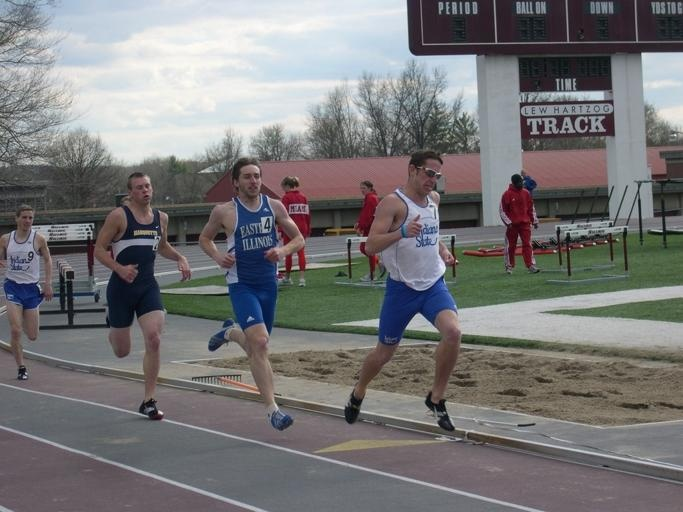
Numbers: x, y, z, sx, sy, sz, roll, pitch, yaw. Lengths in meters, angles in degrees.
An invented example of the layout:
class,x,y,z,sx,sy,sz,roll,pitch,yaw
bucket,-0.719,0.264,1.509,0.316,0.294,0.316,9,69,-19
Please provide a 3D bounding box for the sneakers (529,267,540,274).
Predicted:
class,x,y,z,sx,sy,sz,roll,pitch,yaw
sneakers,4.384,0.339,19.795,0.247,0.146,0.113,-1,9,22

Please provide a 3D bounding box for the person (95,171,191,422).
class,x,y,z,sx,sy,sz,roll,pitch,yaw
person,-2.053,0.372,8.807,0.716,2.413,0.897,-4,4,-2

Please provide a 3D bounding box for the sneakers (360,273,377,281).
class,x,y,z,sx,sy,sz,roll,pitch,yaw
sneakers,0.625,0.512,19.624,0.403,0.155,0.141,0,-3,34

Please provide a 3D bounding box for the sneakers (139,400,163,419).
class,x,y,z,sx,sy,sz,roll,pitch,yaw
sneakers,-1.848,1.512,8.483,0.114,0.143,0.328,2,-2,-38

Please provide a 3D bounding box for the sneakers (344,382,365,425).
class,x,y,z,sx,sy,sz,roll,pitch,yaw
sneakers,0.100,1.372,8.076,0.140,0.362,0.152,12,20,-6

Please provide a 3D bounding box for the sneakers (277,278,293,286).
class,x,y,z,sx,sy,sz,roll,pitch,yaw
sneakers,-1.321,0.623,20.234,0.401,0.158,0.141,5,17,19

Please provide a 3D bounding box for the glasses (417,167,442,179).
class,x,y,z,sx,sy,sz,roll,pitch,yaw
glasses,0.842,-0.753,8.015,0.151,0.110,0.313,-1,4,34

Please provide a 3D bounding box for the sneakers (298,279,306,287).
class,x,y,z,sx,sy,sz,roll,pitch,yaw
sneakers,-0.912,0.640,19.980,0.159,0.138,0.354,-1,-4,1

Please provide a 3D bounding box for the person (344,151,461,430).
class,x,y,z,sx,sy,sz,roll,pitch,yaw
person,0.545,0.296,7.964,0.985,2.480,0.856,-4,4,6

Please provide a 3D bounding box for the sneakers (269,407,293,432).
class,x,y,z,sx,sy,sz,roll,pitch,yaw
sneakers,-0.537,1.443,7.671,0.112,0.164,0.240,-7,5,-37
